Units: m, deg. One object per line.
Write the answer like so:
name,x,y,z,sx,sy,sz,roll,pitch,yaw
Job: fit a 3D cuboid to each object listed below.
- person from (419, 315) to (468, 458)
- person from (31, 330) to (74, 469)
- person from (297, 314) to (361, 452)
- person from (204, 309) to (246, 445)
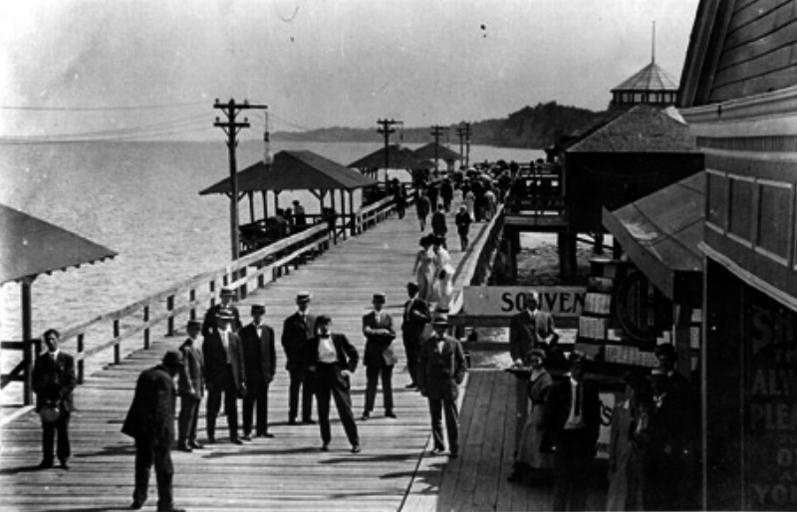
person,0.678,2.066,20.417,0.579,2.226,0.539,5,-11,-36
person,-5.501,2.248,20.380,0.658,2.200,0.699,1,-9,-14
person,-1.103,2.062,20.835,0.895,2.228,0.685,-1,-9,-3
person,-2.868,1.913,20.902,0.665,2.232,0.684,0,-9,-7
